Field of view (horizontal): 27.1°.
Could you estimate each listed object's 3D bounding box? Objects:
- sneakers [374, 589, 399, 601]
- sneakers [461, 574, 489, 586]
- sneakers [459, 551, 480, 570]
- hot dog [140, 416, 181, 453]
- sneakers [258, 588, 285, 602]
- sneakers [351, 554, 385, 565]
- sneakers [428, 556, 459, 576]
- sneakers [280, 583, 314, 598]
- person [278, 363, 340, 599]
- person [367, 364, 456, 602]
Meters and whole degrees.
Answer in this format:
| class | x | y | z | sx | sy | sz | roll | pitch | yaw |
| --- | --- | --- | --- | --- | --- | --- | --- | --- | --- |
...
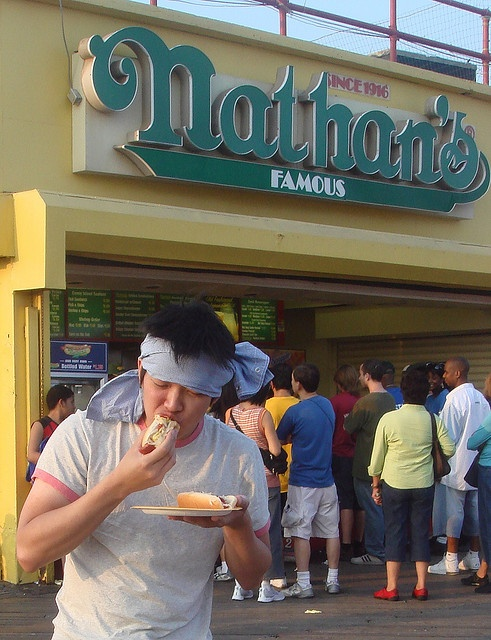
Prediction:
| class | x | y | z | sx | sy | sz | roll | pitch | yaw |
| --- | --- | --- | --- | --- | --- | --- | --- | --- | --- |
| sneakers | 1.001 | 1.947 | 7.264 | 0.071 | 0.082 | 0.177 | 6 | -4 | -43 |
| sneakers | 1.746 | 1.985 | 7.756 | 0.188 | 0.086 | 0.072 | -4 | -7 | 32 |
| sneakers | 1.842 | 1.995 | 8.424 | 0.090 | 0.195 | 0.262 | 3 | -5 | -10 |
| hot dog | -0.232 | 0.301 | 2.711 | 0.056 | 0.110 | 0.039 | 16 | -37 | 16 |
| sneakers | 0.183 | 1.945 | 7.248 | 0.079 | 0.118 | 0.236 | 0 | -1 | 36 |
| sneakers | 1.068 | 2.071 | 8.879 | 0.271 | 0.129 | 0.106 | 4 | -9 | 13 |
| sneakers | 1.632 | 2.031 | 8.405 | 0.289 | 0.208 | 0.118 | -3 | -8 | 32 |
| sneakers | 0.387 | 1.950 | 7.367 | 0.242 | 0.125 | 0.094 | 1 | -6 | 13 |
| person | 0.484 | 1.299 | 7.522 | 0.485 | 1.437 | 0.353 | 3 | -2 | -36 |
| person | 1.179 | 1.175 | 7.262 | 0.599 | 1.659 | 0.348 | 1 | -2 | 8 |
